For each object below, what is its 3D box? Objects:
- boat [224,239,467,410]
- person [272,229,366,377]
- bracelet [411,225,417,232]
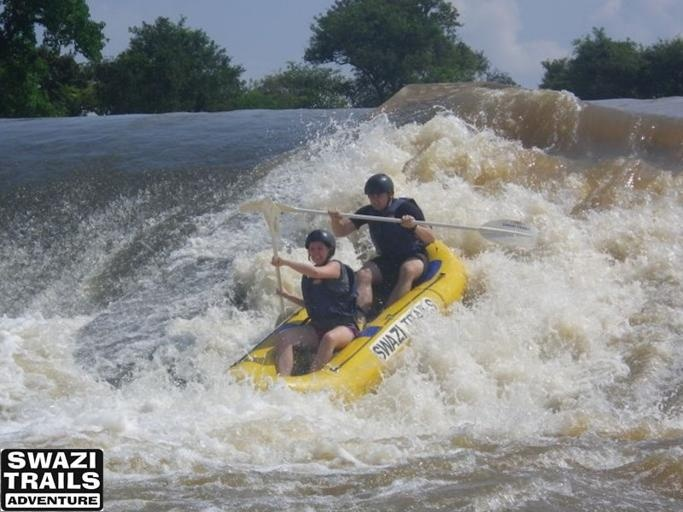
[{"bbox_3d":[0.296,0.575,12.765,3.151,0.722,1.519,-37,25,-30],"label":"boat"},{"bbox_3d":[-0.285,0.614,12.582,1.124,1.867,0.702,5,11,-4],"label":"person"},{"bbox_3d":[1.059,-0.409,13.481,0.049,0.095,0.120,7,11,5],"label":"bracelet"}]
